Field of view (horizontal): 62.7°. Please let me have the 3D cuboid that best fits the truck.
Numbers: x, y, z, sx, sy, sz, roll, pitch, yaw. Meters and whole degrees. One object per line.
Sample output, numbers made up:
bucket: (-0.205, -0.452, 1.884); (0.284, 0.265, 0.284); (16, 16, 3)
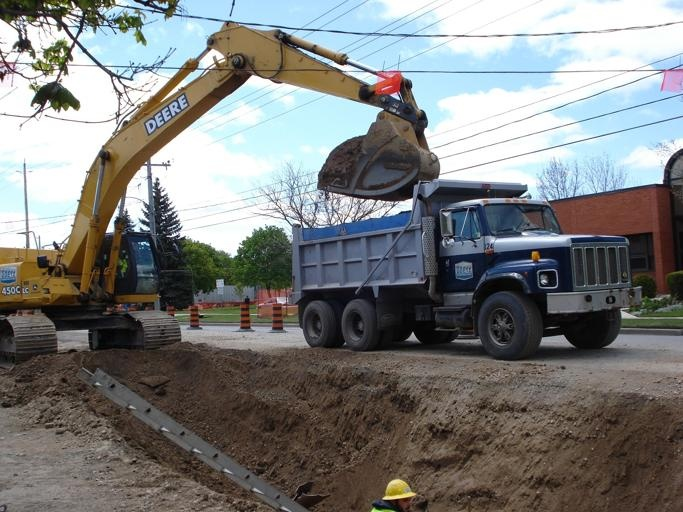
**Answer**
truck: (2.452, 0.419, 12.979); (3.736, 3.142, 7.100); (3, -8, -39)
